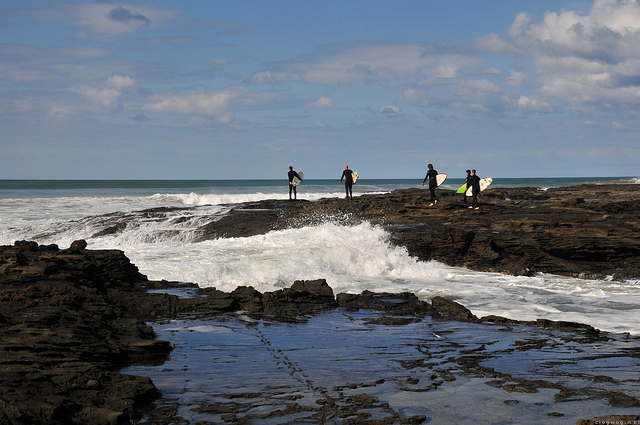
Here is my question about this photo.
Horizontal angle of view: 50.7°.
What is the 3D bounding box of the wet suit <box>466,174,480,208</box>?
[{"bbox_3d":[5.396,-0.924,27.759,0.478,1.526,1.457,5,14,10],"label":"wet suit"}]
